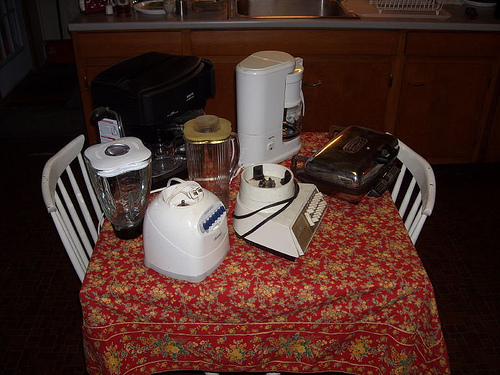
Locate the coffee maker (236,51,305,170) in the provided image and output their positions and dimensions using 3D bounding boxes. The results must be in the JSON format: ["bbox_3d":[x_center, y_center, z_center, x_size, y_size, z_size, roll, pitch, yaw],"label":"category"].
[{"bbox_3d":[0.074,-0.335,1.639,0.216,0.414,0.406,26,40,38],"label":"coffee maker"}]

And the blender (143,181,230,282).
[{"bbox_3d":[-0.190,0.117,1.103,0.227,0.258,0.151,8,32,12],"label":"blender"}]

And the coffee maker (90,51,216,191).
[{"bbox_3d":[-0.346,-0.338,1.557,0.568,0.504,0.450,18,39,36],"label":"coffee maker"}]

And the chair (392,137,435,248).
[{"bbox_3d":[0.652,0.067,1.560,0.120,0.257,0.157,23,34,0],"label":"chair"}]

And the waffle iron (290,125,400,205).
[{"bbox_3d":[0.388,-0.107,1.480,0.360,0.130,0.469,25,41,35],"label":"waffle iron"}]

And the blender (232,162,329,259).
[{"bbox_3d":[0.068,0.063,1.233,0.285,0.173,0.287,17,36,21],"label":"blender"}]

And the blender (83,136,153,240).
[{"bbox_3d":[-0.376,-0.006,1.263,0.184,0.352,0.218,-19,39,-30],"label":"blender"}]

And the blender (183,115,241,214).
[{"bbox_3d":[-0.155,-0.070,1.387,0.231,0.342,0.195,-1,33,4],"label":"blender"}]
